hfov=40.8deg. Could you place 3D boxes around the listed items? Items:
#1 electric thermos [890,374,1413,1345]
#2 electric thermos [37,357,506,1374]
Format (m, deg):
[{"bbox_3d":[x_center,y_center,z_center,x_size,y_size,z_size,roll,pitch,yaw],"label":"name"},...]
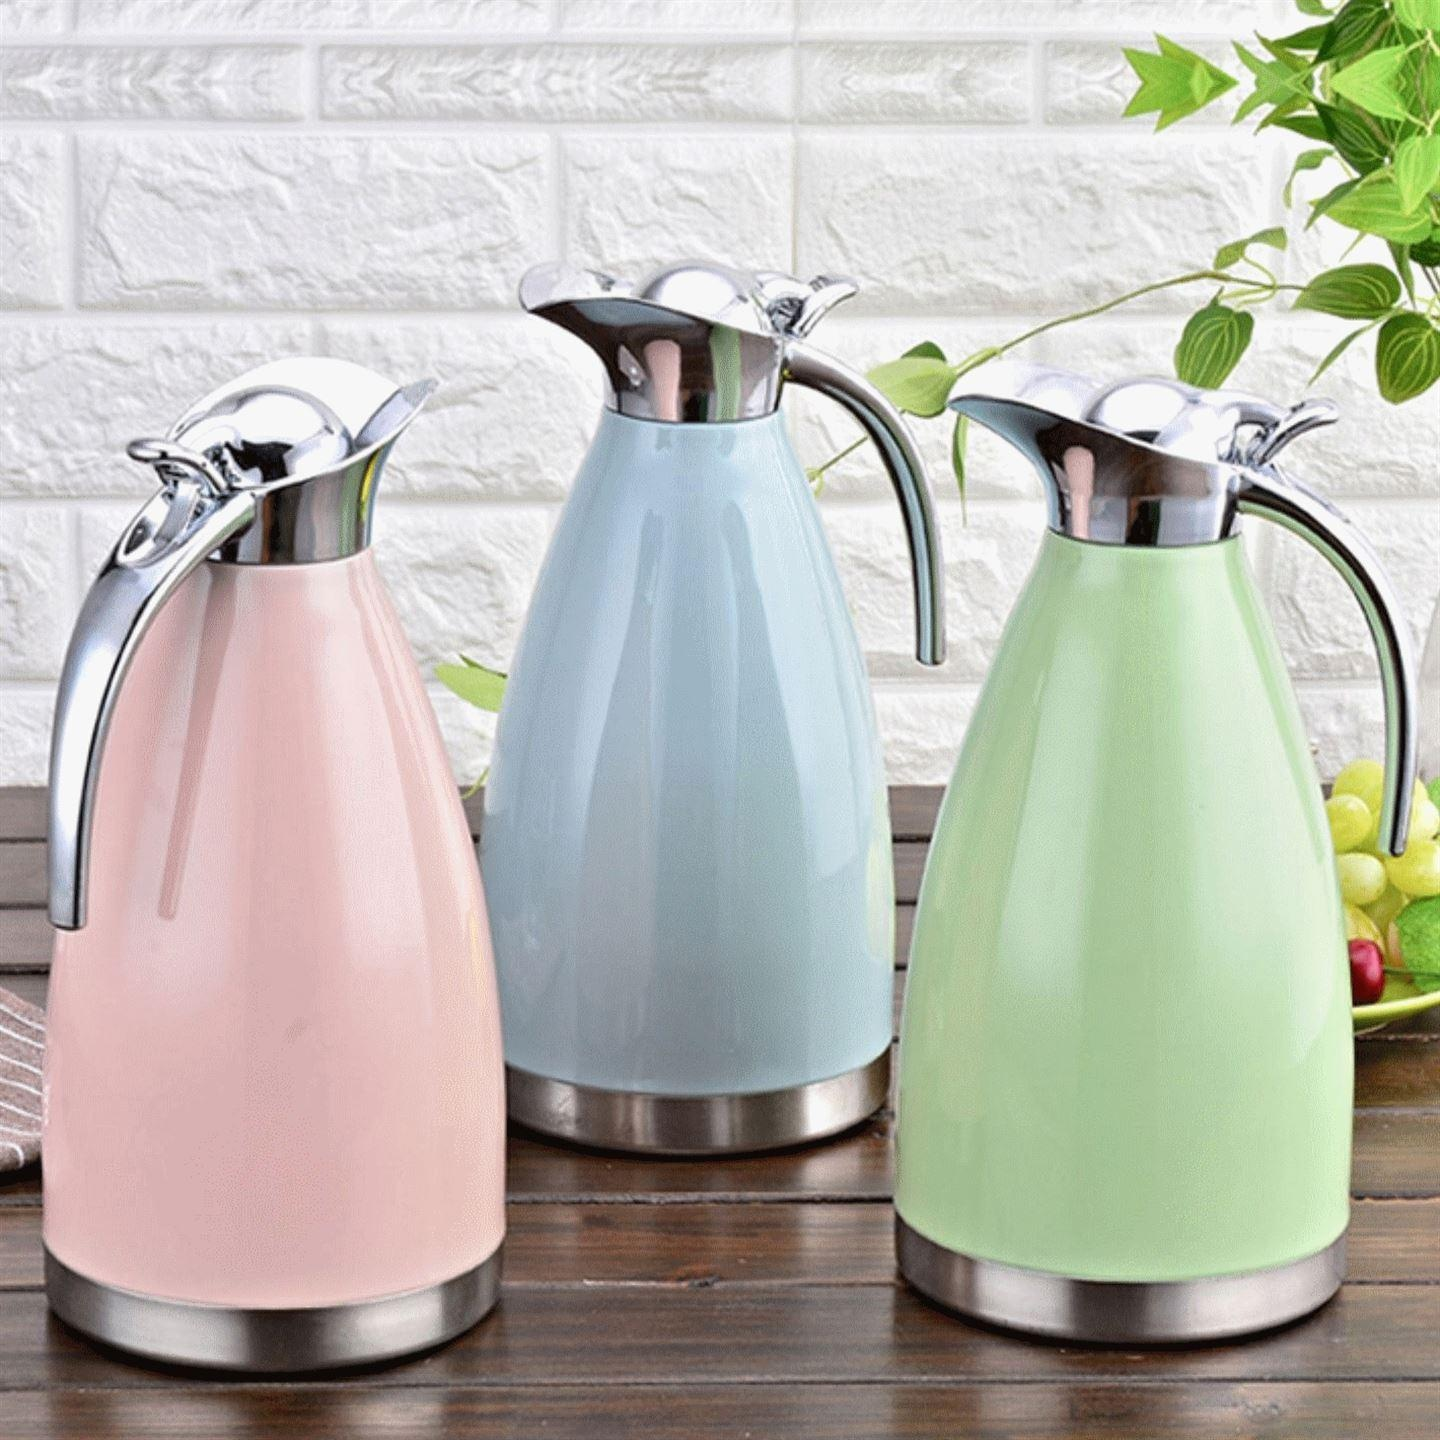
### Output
[{"bbox_3d":[0.094,0.031,0.409,0.106,0.205,0.065,3,17,4],"label":"electric thermos"},{"bbox_3d":[-0.093,0.032,0.391,0.093,0.206,0.071,-10,21,-35],"label":"electric thermos"}]
